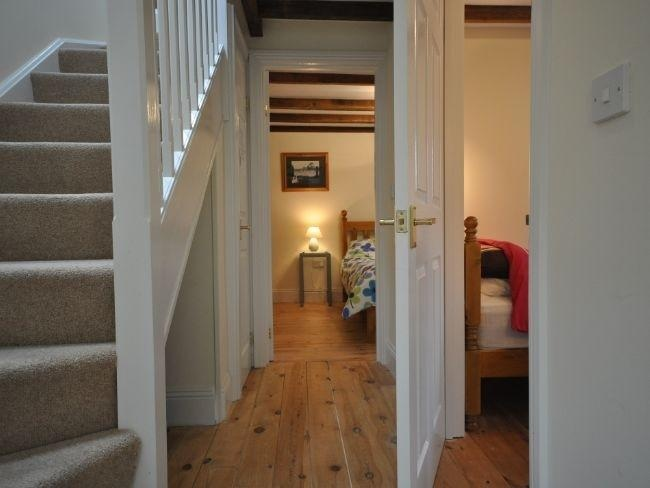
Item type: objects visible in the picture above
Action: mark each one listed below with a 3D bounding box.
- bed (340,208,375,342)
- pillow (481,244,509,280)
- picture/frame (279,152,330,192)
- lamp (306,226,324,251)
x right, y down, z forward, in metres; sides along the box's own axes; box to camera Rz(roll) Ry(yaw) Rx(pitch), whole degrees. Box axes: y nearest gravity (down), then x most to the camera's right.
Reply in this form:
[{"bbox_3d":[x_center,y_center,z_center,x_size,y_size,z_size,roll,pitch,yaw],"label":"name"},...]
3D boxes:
[{"bbox_3d":[0.402,0.152,6.366,0.529,0.826,1.066,-1,14,-3],"label":"bed"},{"bbox_3d":[1.016,0.109,3.149,0.135,0.147,0.197,0,1,5],"label":"pillow"},{"bbox_3d":[-0.296,-0.928,6.882,0.444,0.403,0.039,0,-2,-4],"label":"picture/frame"},{"bbox_3d":[-0.144,-0.066,6.684,0.240,0.419,0.258,-3,10,-15],"label":"lamp"}]
